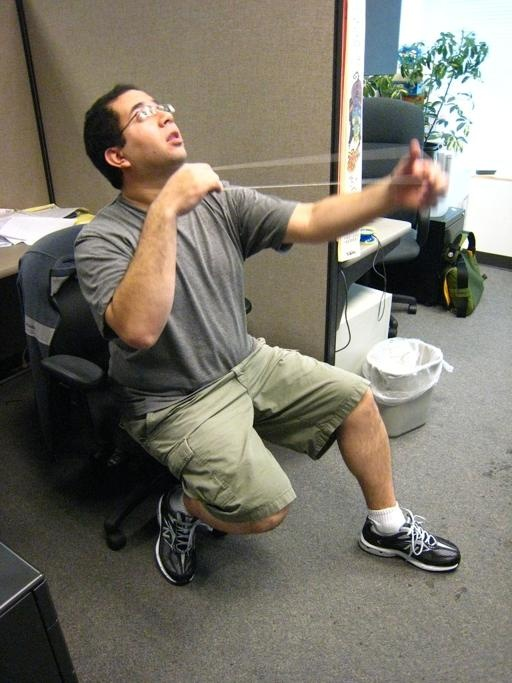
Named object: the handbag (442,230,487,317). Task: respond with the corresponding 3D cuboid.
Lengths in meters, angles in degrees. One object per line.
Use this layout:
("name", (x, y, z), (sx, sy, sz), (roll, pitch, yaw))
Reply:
("handbag", (1.013, -0.339, 2.551), (0.178, 0.348, 0.329), (4, 23, 21))

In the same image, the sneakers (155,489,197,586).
("sneakers", (-0.186, 0.462, 1.291), (0.088, 0.112, 0.250), (4, 60, -36))

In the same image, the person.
("person", (-0.013, 0.056, 1.147), (0.805, 1.108, 0.494), (17, 35, 28))

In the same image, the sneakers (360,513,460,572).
("sneakers", (0.388, 0.508, 1.328), (0.227, 0.096, 0.115), (9, 30, 15))

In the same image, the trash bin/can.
("trash bin/can", (0.499, 0.160, 1.805), (0.298, 0.271, 0.289), (3, 26, 27))

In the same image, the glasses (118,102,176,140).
("glasses", (-0.204, -0.420, 1.015), (0.070, 0.019, 0.070), (-19, 10, 26))
